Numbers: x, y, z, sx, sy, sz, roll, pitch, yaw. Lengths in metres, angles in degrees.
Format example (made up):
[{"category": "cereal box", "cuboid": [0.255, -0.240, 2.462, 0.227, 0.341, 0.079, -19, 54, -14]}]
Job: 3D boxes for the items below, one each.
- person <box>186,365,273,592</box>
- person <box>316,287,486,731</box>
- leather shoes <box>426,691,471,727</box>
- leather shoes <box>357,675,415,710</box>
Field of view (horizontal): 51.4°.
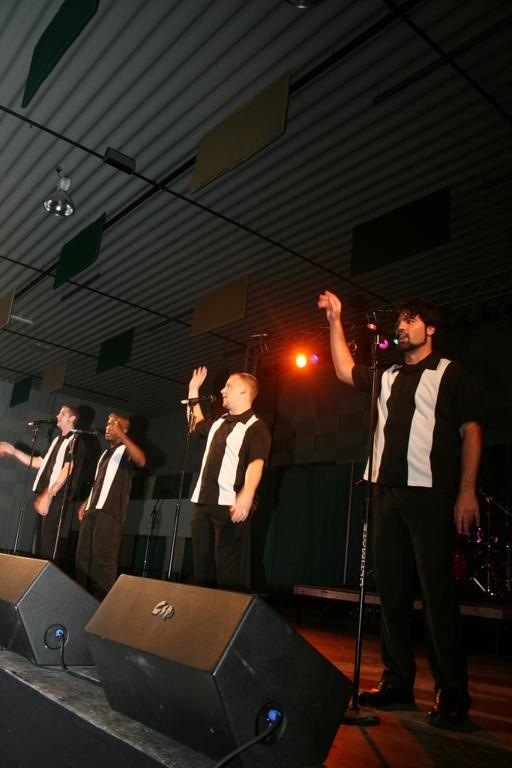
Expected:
[{"category": "person", "cuboid": [-0.140, 0.391, 2.507, 0.410, 1.076, 0.638, 7, -13, -9]}, {"category": "person", "cuboid": [0.571, 0.479, 1.822, 0.407, 1.222, 0.265, -4, -15, 35]}, {"category": "leather shoes", "cuboid": [0.583, 0.982, 1.631, 0.132, 0.133, 0.094, -3, -26, 16]}, {"category": "leather shoes", "cuboid": [0.441, 1.055, 1.823, 0.243, 0.116, 0.092, 13, -29, -16]}]
